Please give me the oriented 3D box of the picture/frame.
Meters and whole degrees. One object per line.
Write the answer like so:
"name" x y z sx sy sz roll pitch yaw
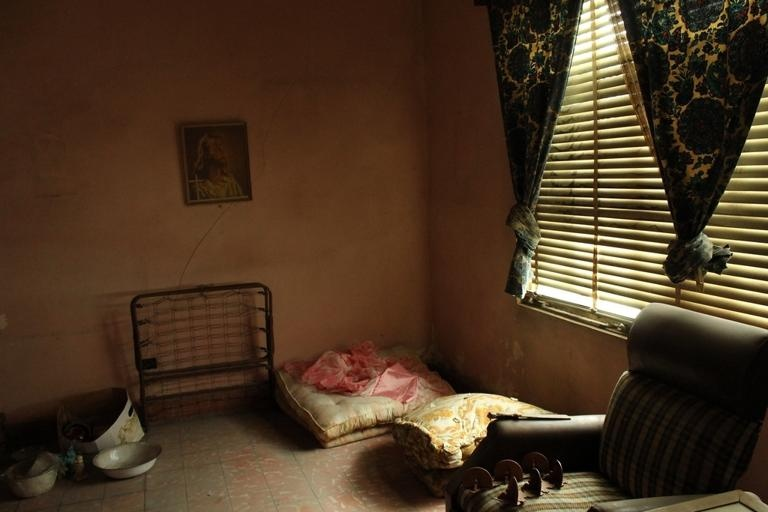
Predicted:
"picture/frame" -1.286 -0.718 4.124 0.588 0.706 0.096 -7 5 -20

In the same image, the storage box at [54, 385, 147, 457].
"storage box" -2.045 1.159 3.938 0.495 0.207 0.377 -6 15 -31

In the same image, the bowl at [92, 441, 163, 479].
"bowl" -1.689 1.340 3.630 0.410 0.116 0.258 -4 16 -17

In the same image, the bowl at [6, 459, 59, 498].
"bowl" -2.213 1.382 3.461 0.241 0.110 0.204 2 0 -34
